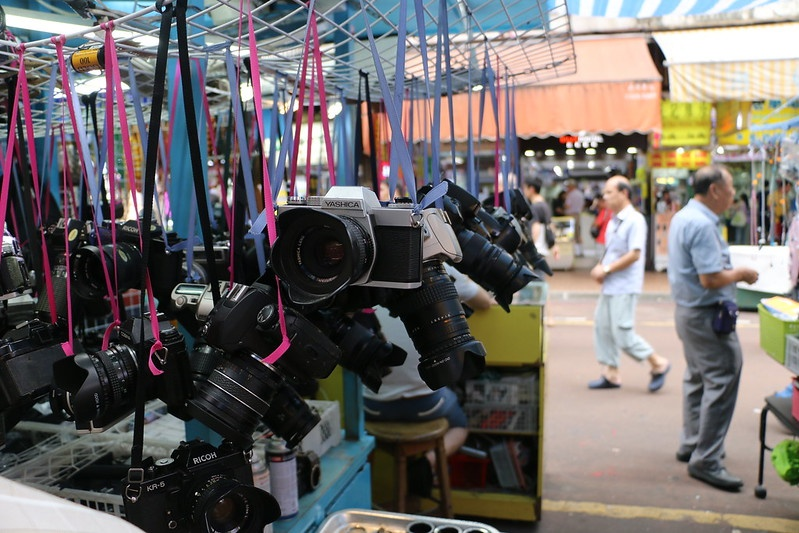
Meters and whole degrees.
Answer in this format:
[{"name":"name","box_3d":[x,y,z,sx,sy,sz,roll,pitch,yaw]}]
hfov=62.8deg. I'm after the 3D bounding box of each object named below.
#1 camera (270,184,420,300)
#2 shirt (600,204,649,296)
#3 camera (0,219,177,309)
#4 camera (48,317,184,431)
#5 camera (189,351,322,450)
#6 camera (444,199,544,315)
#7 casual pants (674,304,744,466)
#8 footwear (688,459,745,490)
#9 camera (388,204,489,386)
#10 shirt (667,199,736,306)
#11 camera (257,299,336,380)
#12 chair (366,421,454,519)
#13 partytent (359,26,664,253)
[{"name":"camera","box_3d":[-0.218,-0.085,2.511,0.535,0.349,0.432,2,7,21]},{"name":"shirt","box_3d":[2.117,-0.150,6.193,0.379,0.819,0.392,1,15,17]},{"name":"camera","box_3d":[-1.262,-0.016,2.811,0.553,0.340,0.403,2,8,15]},{"name":"camera","box_3d":[-1.113,0.425,2.636,0.453,0.369,0.578,-17,14,-37]},{"name":"camera","box_3d":[-0.582,0.504,2.632,0.384,0.246,0.424,18,0,43]},{"name":"camera","box_3d":[0.433,-0.064,3.190,0.521,0.282,0.490,30,27,-20]},{"name":"casual pants","box_3d":[2.218,0.873,4.809,0.362,1.230,0.443,-13,17,-34]},{"name":"footwear","box_3d":[2.274,1.503,4.807,0.422,0.178,0.148,9,15,40]},{"name":"camera","box_3d":[0.138,0.145,2.786,0.297,0.626,0.595,-34,-2,22]},{"name":"shirt","box_3d":[2.162,-0.089,4.765,0.324,0.755,0.525,-11,16,-28]},{"name":"camera","box_3d":[-0.391,0.285,2.637,0.279,0.173,0.340,31,-3,-6]},{"name":"chair","box_3d":[0.174,1.388,4.209,0.559,0.539,0.554,0,-13,-20]},{"name":"partytent","box_3d":[1.371,-2.229,9.602,2.806,0.596,3.109,30,40,32]}]
